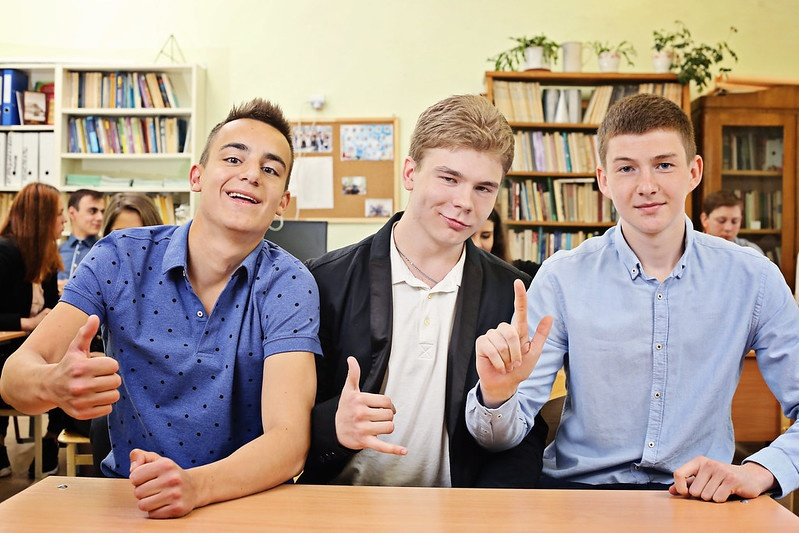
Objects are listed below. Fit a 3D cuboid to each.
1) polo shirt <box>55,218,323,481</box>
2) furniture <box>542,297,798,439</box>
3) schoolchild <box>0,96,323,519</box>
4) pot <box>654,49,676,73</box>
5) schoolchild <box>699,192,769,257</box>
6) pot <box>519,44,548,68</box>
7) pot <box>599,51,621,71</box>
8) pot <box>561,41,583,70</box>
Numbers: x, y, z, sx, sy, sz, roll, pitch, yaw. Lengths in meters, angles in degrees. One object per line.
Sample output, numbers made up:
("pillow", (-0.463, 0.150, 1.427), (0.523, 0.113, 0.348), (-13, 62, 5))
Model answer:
("polo shirt", (-0.695, 0.262, 2.245), (0.854, 0.770, 0.454), (6, 15, -4))
("furniture", (0.898, 0.331, 2.275), (0.602, 0.275, 0.312), (0, -31, 2))
("schoolchild", (-0.690, 0.056, 2.061), (0.876, 1.257, 0.595), (-1, 2, -30))
("pot", (1.918, -1.477, 4.845), (0.148, 0.131, 0.167), (11, 13, 40))
("schoolchild", (2.342, -0.282, 4.840), (0.406, 0.549, 0.380), (-8, 15, -30))
("pot", (0.969, -1.511, 4.839), (0.170, 0.151, 0.152), (-3, 11, -14))
("pot", (1.536, -1.483, 4.864), (0.152, 0.105, 0.134), (-1, 7, -7))
("pot", (1.261, -1.518, 4.842), (0.223, 0.198, 0.152), (2, 2, 13))
